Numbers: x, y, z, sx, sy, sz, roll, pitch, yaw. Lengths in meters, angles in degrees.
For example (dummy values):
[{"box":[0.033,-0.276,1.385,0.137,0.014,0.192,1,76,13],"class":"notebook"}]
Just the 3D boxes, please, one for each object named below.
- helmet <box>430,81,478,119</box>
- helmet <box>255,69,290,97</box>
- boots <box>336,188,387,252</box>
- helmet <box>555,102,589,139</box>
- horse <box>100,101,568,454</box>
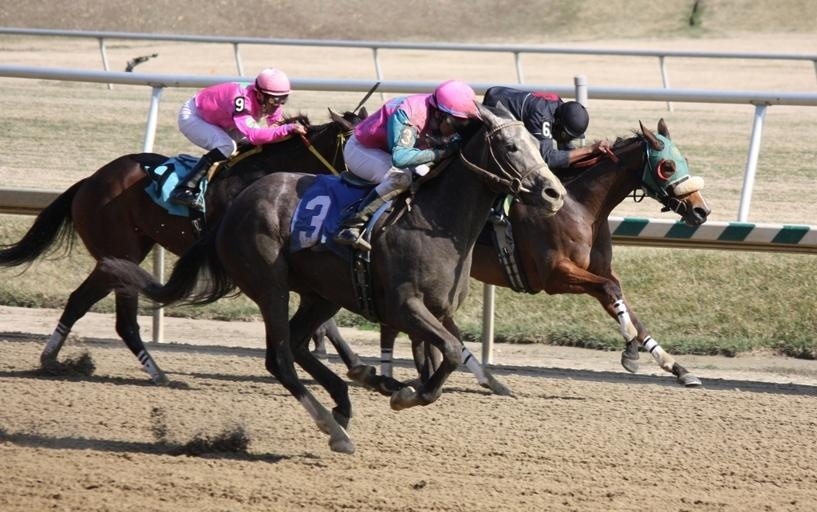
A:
[{"box":[0.389,-1.276,10.397,0.393,0.178,0.264,28,35,-2],"class":"helmet"},{"box":[-1.210,-1.561,11.504,0.296,0.224,0.336,0,14,-6],"class":"helmet"},{"box":[-0.384,-0.294,10.356,0.253,0.468,0.288,13,18,33],"class":"boots"},{"box":[1.419,-1.211,11.375,0.246,0.266,0.300,18,6,-40],"class":"helmet"},{"box":[-0.611,0.297,11.330,5.233,2.685,1.295,-1,-3,41],"class":"horse"}]
